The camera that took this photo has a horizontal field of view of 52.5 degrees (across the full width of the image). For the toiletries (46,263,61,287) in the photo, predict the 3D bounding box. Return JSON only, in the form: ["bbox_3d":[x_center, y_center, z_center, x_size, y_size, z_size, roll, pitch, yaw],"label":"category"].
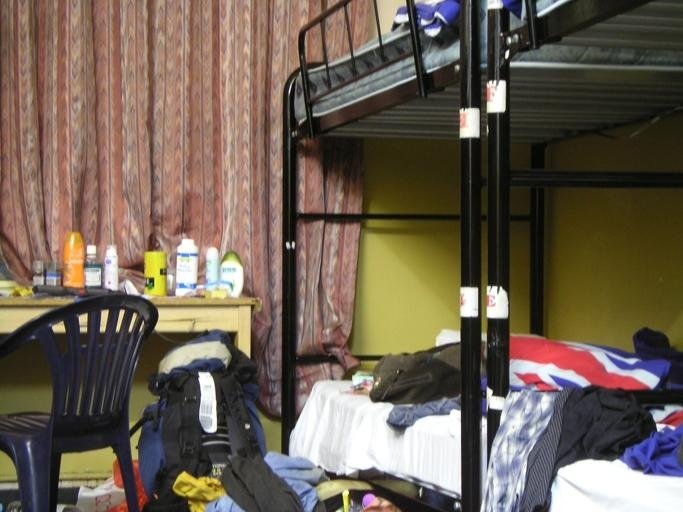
[{"bbox_3d":[-1.343,0.083,3.225,0.070,0.105,0.091,-2,5,-24],"label":"toiletries"}]

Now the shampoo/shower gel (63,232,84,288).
[{"bbox_3d":[-1.243,0.016,3.208,0.093,0.249,0.129,-2,5,-24],"label":"shampoo/shower gel"}]

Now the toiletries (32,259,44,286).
[{"bbox_3d":[-1.407,0.074,3.209,0.055,0.113,0.117,-2,5,-25],"label":"toiletries"}]

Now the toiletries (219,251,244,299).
[{"bbox_3d":[-0.525,0.095,3.301,0.129,0.256,0.057,-10,-31,-6],"label":"toiletries"}]

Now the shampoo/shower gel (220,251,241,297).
[{"bbox_3d":[-0.525,0.083,3.245,0.090,0.201,0.048,0,1,15],"label":"shampoo/shower gel"}]

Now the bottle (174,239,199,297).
[{"bbox_3d":[-0.730,0.055,3.269,0.103,0.259,0.104,0,5,0],"label":"bottle"}]

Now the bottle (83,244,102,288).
[{"bbox_3d":[-1.171,0.049,3.256,0.079,0.196,0.136,-2,5,-22],"label":"bottle"}]

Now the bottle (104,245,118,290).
[{"bbox_3d":[-1.084,0.056,3.257,0.070,0.210,0.145,-2,5,-19],"label":"bottle"}]

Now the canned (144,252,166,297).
[{"bbox_3d":[-0.881,0.084,3.258,0.099,0.202,0.094,-1,5,-10],"label":"canned"}]
